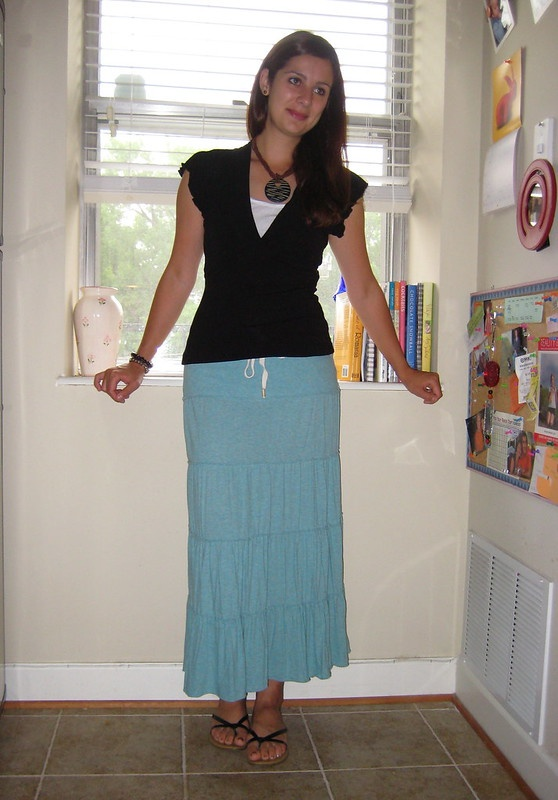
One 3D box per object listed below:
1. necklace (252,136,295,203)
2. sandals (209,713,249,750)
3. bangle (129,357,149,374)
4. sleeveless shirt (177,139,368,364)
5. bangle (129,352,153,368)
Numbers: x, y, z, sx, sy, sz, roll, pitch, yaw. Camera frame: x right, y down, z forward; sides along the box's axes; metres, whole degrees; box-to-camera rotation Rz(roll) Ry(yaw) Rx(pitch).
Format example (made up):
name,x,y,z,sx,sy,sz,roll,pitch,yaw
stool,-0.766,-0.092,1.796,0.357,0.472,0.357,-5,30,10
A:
name,x,y,z,sx,sy,sz,roll,pitch,yaw
necklace,-0.008,-0.486,1.510,0.068,0.112,0.020,-13,-1,-17
sandals,-0.110,0.753,1.627,0.077,0.043,0.134,1,-1,-5
bangle,-0.295,-0.080,1.532,0.045,0.040,0.039,2,3,-11
sleeveless shirt,-0.032,-0.309,1.542,0.363,0.478,0.129,2,3,-9
bangle,-0.294,-0.083,1.531,0.036,0.018,0.034,37,-3,-15
